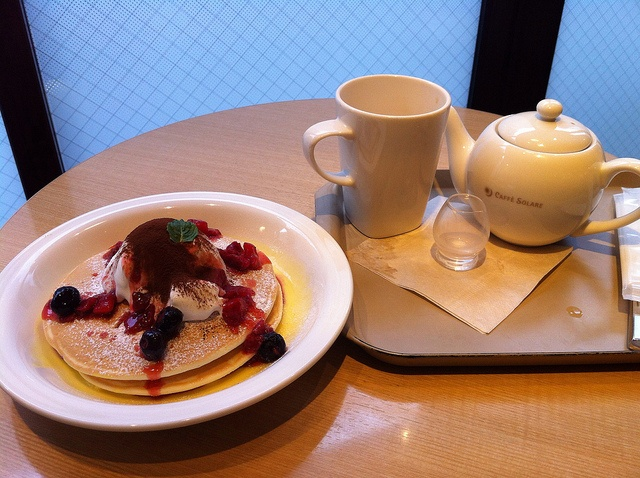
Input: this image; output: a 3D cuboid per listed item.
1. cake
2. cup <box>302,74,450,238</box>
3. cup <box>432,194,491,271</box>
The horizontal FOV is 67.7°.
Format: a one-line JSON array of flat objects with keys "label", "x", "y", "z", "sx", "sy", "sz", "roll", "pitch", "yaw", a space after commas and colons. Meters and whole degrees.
[{"label": "cake", "x": -0.278, "y": 0.129, "z": 0.946, "sx": 0.361, "sy": 0.138, "sz": 0.364, "roll": 20, "pitch": 40, "yaw": 24}, {"label": "cup", "x": 0.104, "y": -0.179, "z": 1.124, "sx": 0.343, "sy": 0.308, "sz": 0.223, "roll": -13, "pitch": 39, "yaw": -19}, {"label": "cup", "x": 0.281, "y": -0.022, "z": 1.071, "sx": 0.134, "sy": 0.152, "sz": 0.158, "roll": 3, "pitch": 39, "yaw": 7}]
